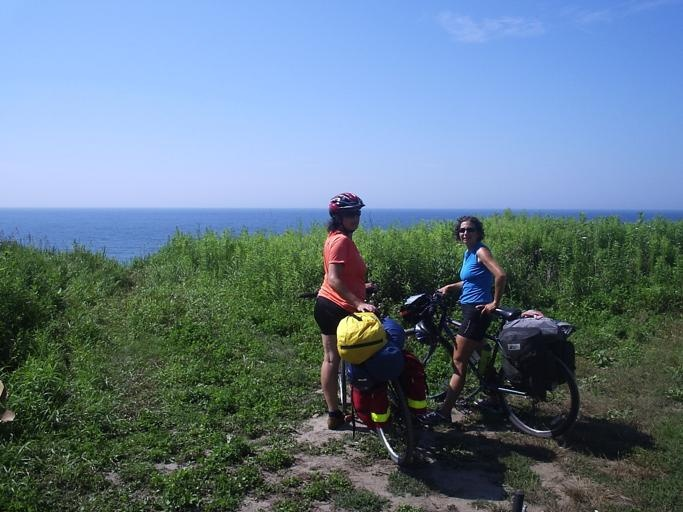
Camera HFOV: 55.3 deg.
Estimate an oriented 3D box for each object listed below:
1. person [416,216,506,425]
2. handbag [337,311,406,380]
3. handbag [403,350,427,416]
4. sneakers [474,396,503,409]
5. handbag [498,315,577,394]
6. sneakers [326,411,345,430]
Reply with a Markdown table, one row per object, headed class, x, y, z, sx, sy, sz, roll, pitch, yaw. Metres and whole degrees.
| class | x | y | z | sx | sy | sz | roll | pitch | yaw |
| --- | --- | --- | --- | --- | --- | --- | --- | --- | --- |
| person | 1.816 | 0.926 | 9.385 | 1.054 | 2.987 | 0.929 | -1 | 4 | 11 |
| handbag | 0.449 | 1.172 | 8.391 | 0.869 | 0.730 | 0.926 | 11 | -9 | -41 |
| handbag | 0.954 | 1.643 | 8.429 | 0.247 | 0.633 | 0.460 | -14 | -2 | -22 |
| sneakers | 2.185 | 2.161 | 9.693 | 0.399 | 0.178 | 0.153 | 3 | -7 | 21 |
| handbag | 2.758 | 1.358 | 9.205 | 0.909 | 1.009 | 0.935 | 1 | -6 | -29 |
| sneakers | -0.071 | 2.362 | 9.421 | 0.145 | 0.233 | 0.338 | 2 | 7 | 22 |
